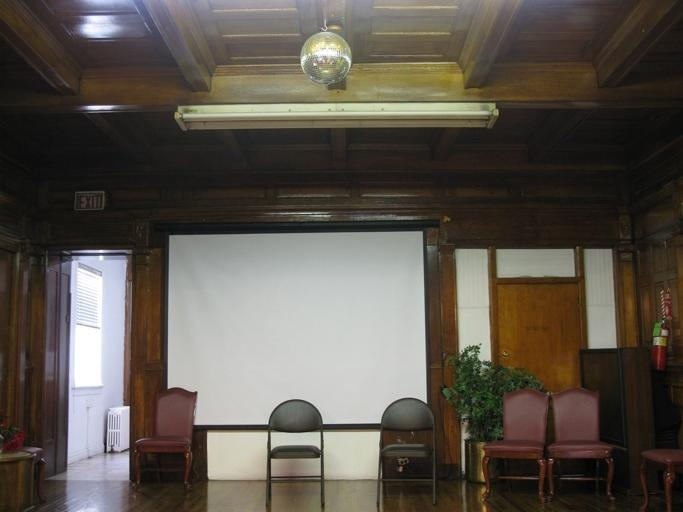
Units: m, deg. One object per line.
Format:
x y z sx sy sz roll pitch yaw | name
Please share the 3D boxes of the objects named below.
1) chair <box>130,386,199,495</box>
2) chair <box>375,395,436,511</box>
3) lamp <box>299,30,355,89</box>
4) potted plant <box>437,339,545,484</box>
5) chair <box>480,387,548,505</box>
-2.054 2.119 7.020 0.683 1.118 0.709 1 -7 -14 | chair
0.721 2.117 6.759 0.689 1.002 1.162 -2 -7 8 | chair
-0.109 -1.447 4.678 0.425 0.551 0.440 3 0 -1 | lamp
1.621 1.768 7.482 1.582 2.135 1.321 1 -6 -2 | potted plant
1.937 2.035 6.683 0.728 1.087 0.951 -3 -7 18 | chair
